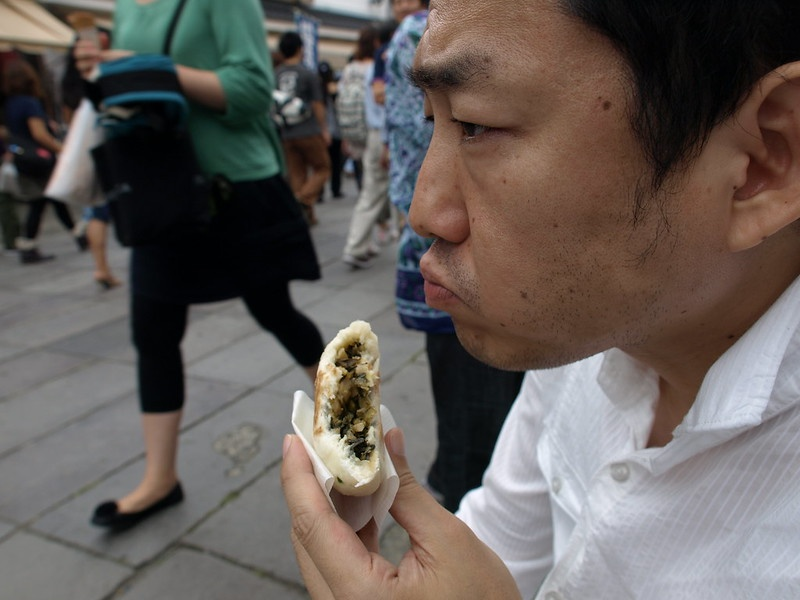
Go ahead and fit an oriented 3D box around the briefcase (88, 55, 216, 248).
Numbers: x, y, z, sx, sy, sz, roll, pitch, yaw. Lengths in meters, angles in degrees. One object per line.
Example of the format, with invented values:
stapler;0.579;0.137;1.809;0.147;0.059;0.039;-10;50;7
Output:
briefcase;-0.585;-0.354;1.472;0.214;0.392;0.273;13;35;39
